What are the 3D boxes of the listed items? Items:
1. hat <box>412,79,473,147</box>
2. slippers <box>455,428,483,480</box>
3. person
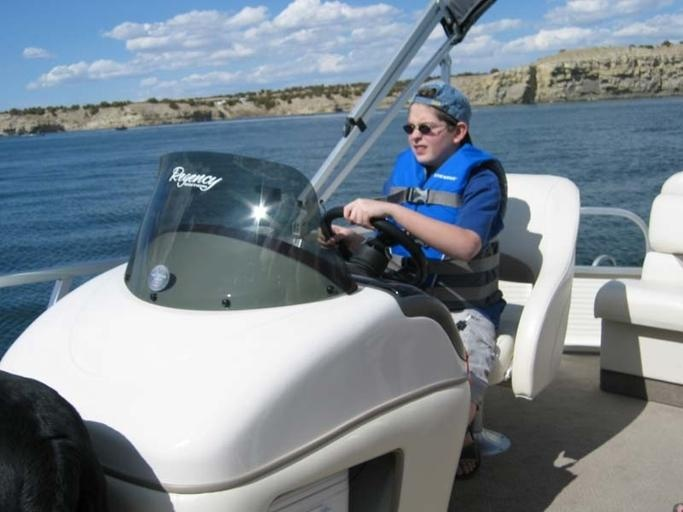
[{"bbox_3d":[0.532,-0.708,2.577,0.310,0.333,0.219,15,0,-37],"label":"hat"},{"bbox_3d":[0.648,0.995,2.592,0.114,0.079,0.299,-29,7,20],"label":"slippers"},{"bbox_3d":[0.435,0.116,2.537,0.830,1.721,0.871,-5,6,7],"label":"person"}]
